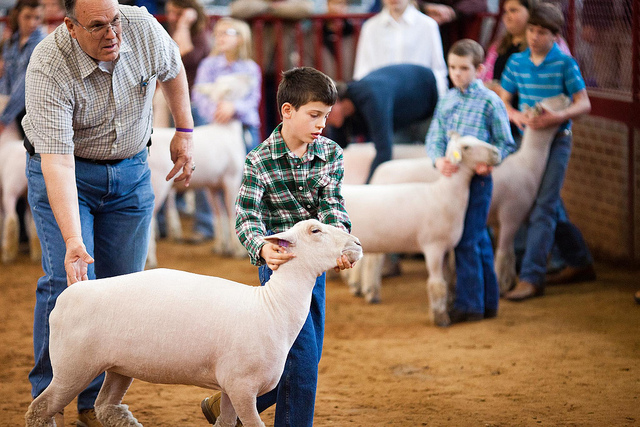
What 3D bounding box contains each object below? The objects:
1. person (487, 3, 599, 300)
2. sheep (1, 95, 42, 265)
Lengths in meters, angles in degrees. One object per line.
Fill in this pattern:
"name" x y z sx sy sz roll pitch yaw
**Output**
"person" 1.422 -0.390 4.967 0.644 1.828 0.352 0 9 12
"sheep" -3.555 -0.386 9.106 0.453 1.980 1.169 -5 9 -20
